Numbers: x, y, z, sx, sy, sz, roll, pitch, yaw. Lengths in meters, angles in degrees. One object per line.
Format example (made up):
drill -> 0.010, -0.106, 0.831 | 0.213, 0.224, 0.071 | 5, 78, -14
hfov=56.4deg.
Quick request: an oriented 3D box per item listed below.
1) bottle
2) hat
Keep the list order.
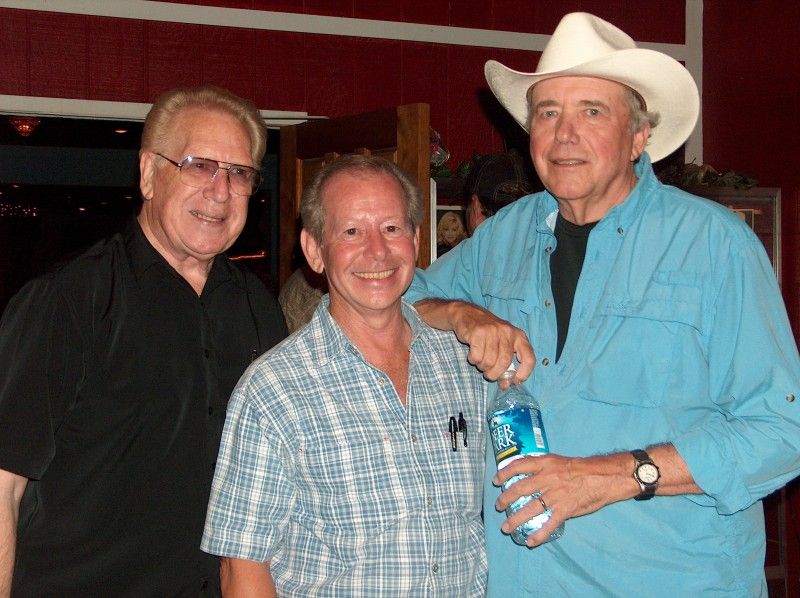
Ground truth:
bottle -> 0.385, 0.526, 2.378 | 0.269, 0.570, 0.311 | 4, 8, 16
hat -> 0.842, -0.680, 2.699 | 0.624, 0.277, 0.725 | 2, -22, 47
